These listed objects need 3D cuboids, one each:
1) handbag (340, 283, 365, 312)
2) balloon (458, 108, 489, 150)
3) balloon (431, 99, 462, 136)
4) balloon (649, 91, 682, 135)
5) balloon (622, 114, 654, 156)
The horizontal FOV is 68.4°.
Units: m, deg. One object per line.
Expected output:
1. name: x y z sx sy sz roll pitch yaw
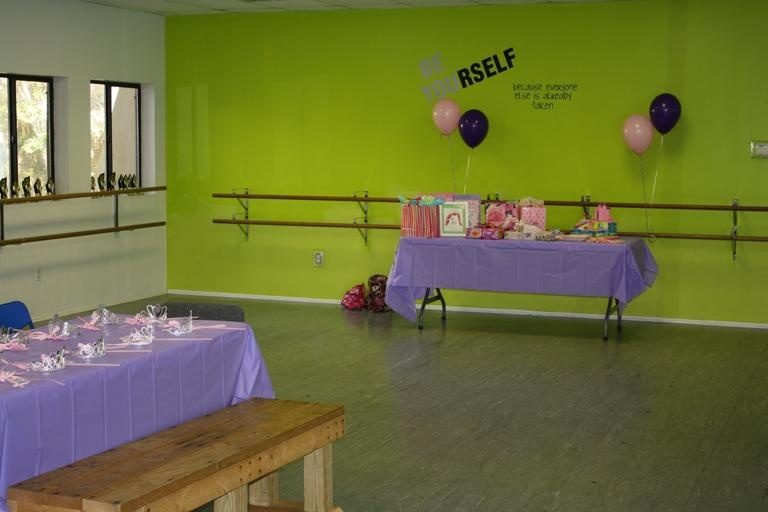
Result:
1. handbag: -0.464 0.605 8.380 0.362 0.341 0.324 0 8 -5
2. balloon: 1.196 -1.733 7.772 0.457 0.624 0.475 1 -1 0
3. balloon: 0.847 -1.913 7.790 0.413 0.562 0.429 0 5 1
4. balloon: 3.669 -1.834 7.415 0.389 0.646 0.409 4 20 22
5. balloon: 3.362 -1.560 7.410 0.361 0.464 0.375 6 22 37
